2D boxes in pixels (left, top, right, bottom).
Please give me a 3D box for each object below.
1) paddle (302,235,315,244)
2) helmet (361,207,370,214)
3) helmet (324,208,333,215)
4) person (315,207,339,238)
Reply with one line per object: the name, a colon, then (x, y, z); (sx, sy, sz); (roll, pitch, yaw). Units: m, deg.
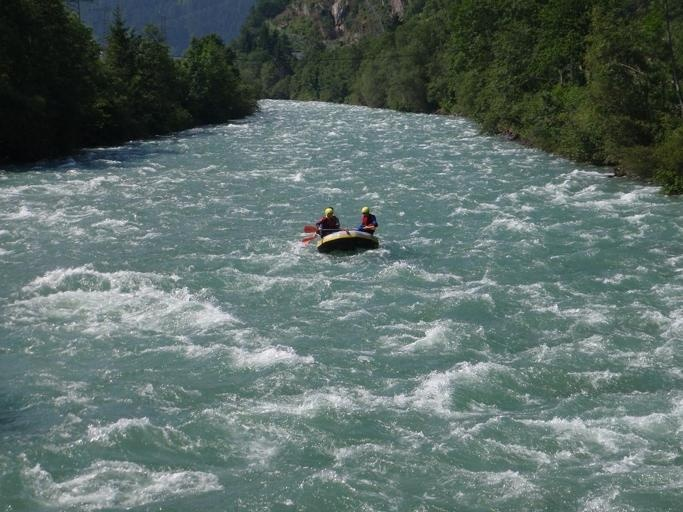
paddle: (-2.187, -0.954, 55.995); (0.735, 0.517, 0.919); (-6, 13, -3)
helmet: (0.782, -2.610, 55.620); (0.331, 0.398, 0.431); (2, 40, 28)
helmet: (-1.159, -2.546, 56.593); (0.386, 0.440, 0.358); (-2, 54, -25)
person: (-1.245, -1.837, 56.461); (1.519, 1.973, 1.114); (3, 19, 2)
